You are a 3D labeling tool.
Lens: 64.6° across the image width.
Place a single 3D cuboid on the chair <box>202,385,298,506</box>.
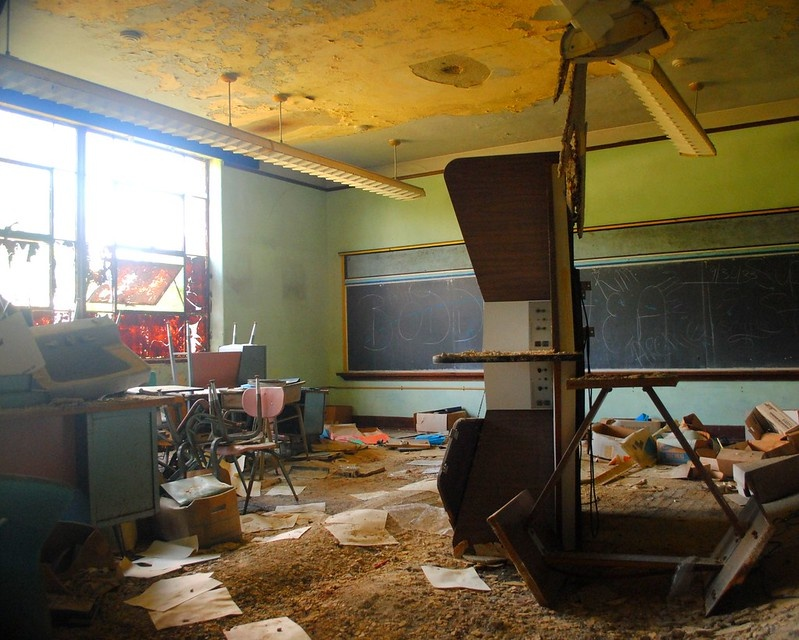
[{"bbox_3d":[-1.200,0.908,4.698,0.632,0.707,0.685,7,13,45],"label":"chair"}]
